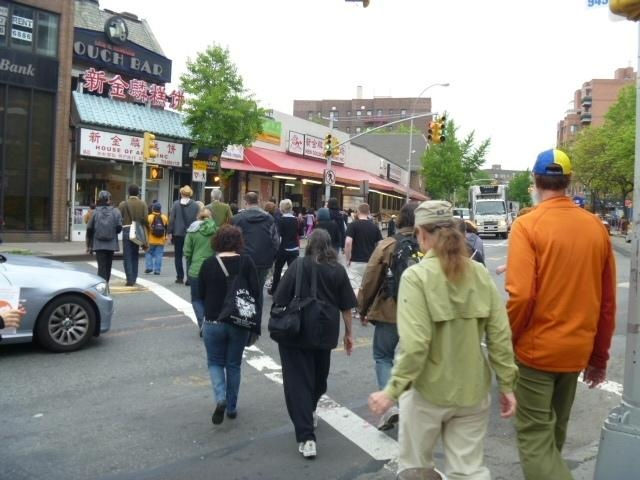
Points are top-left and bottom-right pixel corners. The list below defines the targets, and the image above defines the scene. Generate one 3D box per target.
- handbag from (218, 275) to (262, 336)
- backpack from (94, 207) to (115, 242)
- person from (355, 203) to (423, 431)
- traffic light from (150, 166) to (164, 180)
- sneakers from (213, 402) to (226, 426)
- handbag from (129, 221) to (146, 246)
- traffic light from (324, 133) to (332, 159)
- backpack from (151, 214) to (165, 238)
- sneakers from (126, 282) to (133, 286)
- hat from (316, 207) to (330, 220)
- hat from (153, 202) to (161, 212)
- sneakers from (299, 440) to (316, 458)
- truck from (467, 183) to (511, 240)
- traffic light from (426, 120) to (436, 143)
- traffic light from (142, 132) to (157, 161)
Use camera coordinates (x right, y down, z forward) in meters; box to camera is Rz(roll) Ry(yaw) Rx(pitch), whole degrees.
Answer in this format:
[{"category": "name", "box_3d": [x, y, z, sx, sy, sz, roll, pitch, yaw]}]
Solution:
[{"category": "handbag", "box_3d": [-0.766, 0.556, 6.251, 0.468, 0.598, 0.238, 11, 36, 3]}, {"category": "backpack", "box_3d": [-4.128, -0.307, 11.708, 0.483, 0.723, 0.408, 1, -5, -44]}, {"category": "person", "box_3d": [0.808, 0.746, 6.356, 0.824, 2.304, 0.860, 9, -7, -1]}, {"category": "traffic light", "box_3d": [-5.674, -2.383, 21.482, 0.395, 0.566, 0.565, 11, 10, 38]}, {"category": "sneakers", "box_3d": [-0.996, 1.723, 6.059, 0.102, 0.239, 0.105, 13, 6, -6]}, {"category": "handbag", "box_3d": [-3.858, -0.129, 12.803, 0.157, 0.395, 0.401, -16, -24, 16]}, {"category": "traffic light", "box_3d": [0.385, -4.230, 27.139, 0.373, 1.015, 0.930, 1, 6, 1]}, {"category": "backpack", "box_3d": [-3.843, -0.337, 14.460, 0.315, 0.503, 0.470, 2, -2, -19]}, {"category": "sneakers", "box_3d": [-4.047, 0.929, 12.916, 0.127, 0.074, 0.088, -2, -4, -1]}, {"category": "hat", "box_3d": [0.034, -0.525, 11.998, 0.190, 0.233, 0.256, 6, 7, 32]}, {"category": "hat", "box_3d": [-3.889, -0.804, 14.527, 0.161, 0.162, 0.252, 7, -3, -23]}, {"category": "sneakers", "box_3d": [-0.111, 1.889, 5.557, 0.174, 0.145, 0.191, 1, 6, -2]}, {"category": "truck", "box_3d": [11.903, -2.018, 42.998, 1.980, 3.038, 5.490, -1, -2, 15]}, {"category": "traffic light", "box_3d": [4.619, -4.474, 24.981, 0.286, 0.870, 1.216, 2, 6, 8]}, {"category": "traffic light", "box_3d": [-5.714, -3.169, 20.463, 0.386, 0.973, 1.954, -1, 7, -17]}]
